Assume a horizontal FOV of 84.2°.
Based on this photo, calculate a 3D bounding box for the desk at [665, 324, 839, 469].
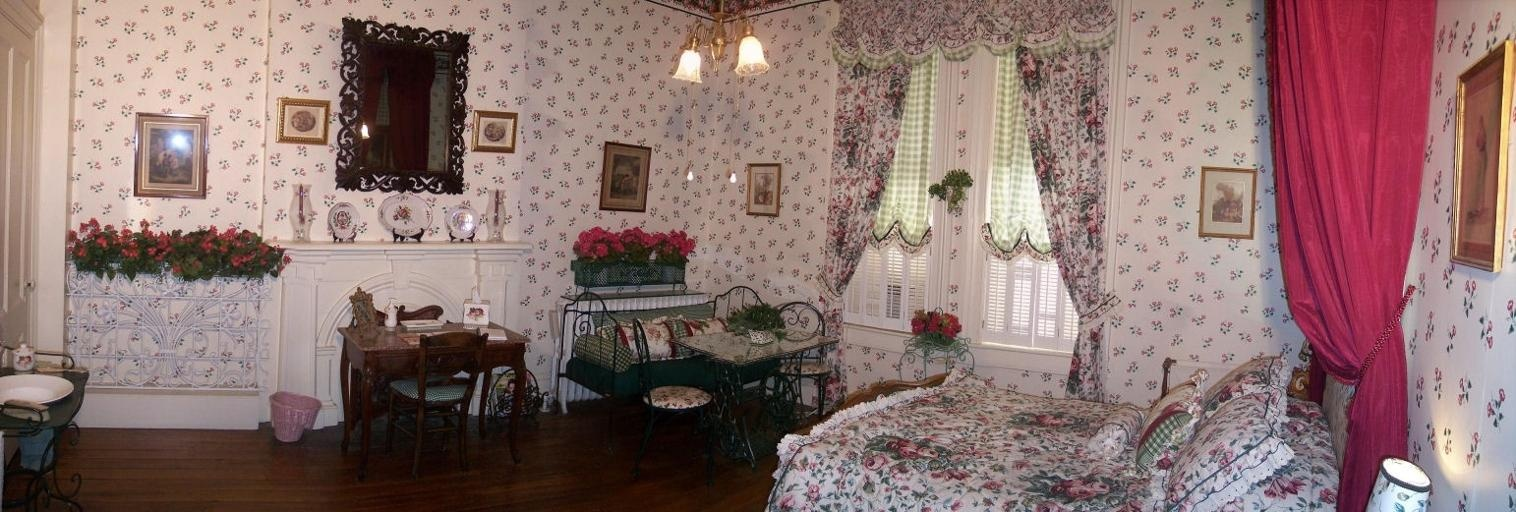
[{"bbox_3d":[-0.220,2.246,14.607,1.992,2.575,1.691,3,1,18],"label":"desk"}]

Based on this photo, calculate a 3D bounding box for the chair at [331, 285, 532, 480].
[{"bbox_3d":[-5.641,1.945,14.590,3.169,3.197,2.500,3,1,-33],"label":"chair"}]

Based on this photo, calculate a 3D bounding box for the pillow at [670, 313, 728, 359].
[{"bbox_3d":[-1.116,1.281,15.005,1.045,0.577,0.259,-1,-31,-21],"label":"pillow"}]

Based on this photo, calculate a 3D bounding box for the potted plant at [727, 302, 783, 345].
[{"bbox_3d":[-0.045,1.177,14.624,0.903,0.468,0.766,4,7,7],"label":"potted plant"}]

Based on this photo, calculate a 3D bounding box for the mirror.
[{"bbox_3d":[-6.267,-2.722,14.502,2.167,3.167,0.475,0,-2,-23],"label":"mirror"}]

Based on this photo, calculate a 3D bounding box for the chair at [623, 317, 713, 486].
[{"bbox_3d":[-1.477,2.366,14.311,1.381,2.622,1.558,-1,2,-7],"label":"chair"}]

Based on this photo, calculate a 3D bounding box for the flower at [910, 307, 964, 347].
[{"bbox_3d":[3.163,1.280,14.763,1.097,0.472,0.761,-6,1,-18],"label":"flower"}]

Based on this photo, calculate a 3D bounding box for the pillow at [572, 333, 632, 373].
[{"bbox_3d":[-2.562,1.692,14.889,1.352,0.428,0.681,4,2,45],"label":"pillow"}]

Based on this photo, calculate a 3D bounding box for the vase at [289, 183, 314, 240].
[{"bbox_3d":[-7.738,-0.766,14.268,0.351,0.961,0.107,-2,3,-25],"label":"vase"}]

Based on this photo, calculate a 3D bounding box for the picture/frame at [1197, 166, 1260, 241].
[{"bbox_3d":[7.648,-0.886,13.741,0.783,1.174,0.109,0,3,17],"label":"picture/frame"}]
